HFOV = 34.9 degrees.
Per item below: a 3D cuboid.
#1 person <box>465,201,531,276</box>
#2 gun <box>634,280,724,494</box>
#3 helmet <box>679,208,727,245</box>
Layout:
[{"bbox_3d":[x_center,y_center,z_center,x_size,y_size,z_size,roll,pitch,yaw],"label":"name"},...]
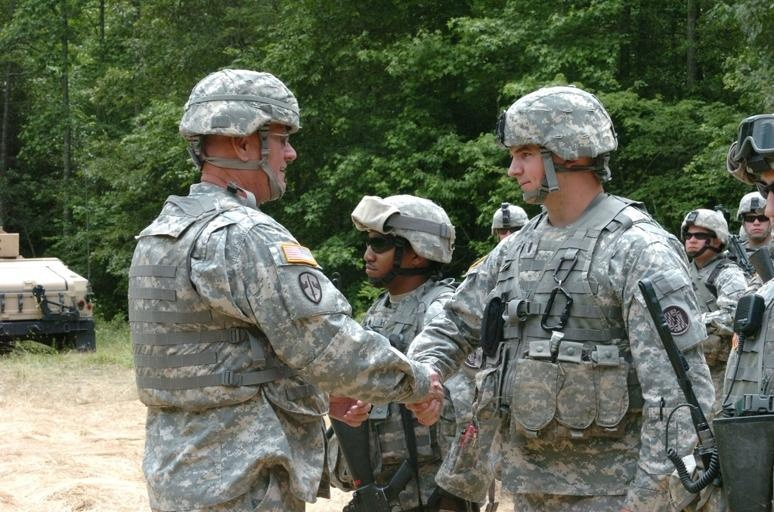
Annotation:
[{"bbox_3d":[1.702,-0.330,19.452,1.314,1.017,0.924,-16,3,-14],"label":"person"},{"bbox_3d":[3.618,1.609,15.154,0.876,1.974,0.409,-2,1,12],"label":"gun"},{"bbox_3d":[5.341,-0.481,20.561,0.662,0.420,0.580,5,-10,-20],"label":"helmet"}]
